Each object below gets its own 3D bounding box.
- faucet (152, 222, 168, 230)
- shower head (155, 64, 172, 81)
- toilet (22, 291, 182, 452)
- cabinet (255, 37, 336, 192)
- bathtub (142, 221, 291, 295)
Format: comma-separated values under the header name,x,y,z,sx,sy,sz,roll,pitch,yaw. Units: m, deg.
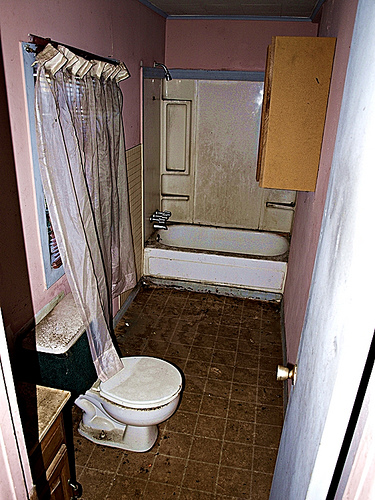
name,x,y,z,sx,sy,sz,roll,pitch,yaw
faucet,-0.259,-0.222,3.724,0.074,0.084,0.077,1,-1,5
shower head,-0.200,-1.539,3.393,0.105,0.123,0.333,2,23,4
toilet,-0.349,0.665,1.936,0.609,0.707,0.449,8,26,10
cabinet,0.442,-0.666,1.971,0.303,0.691,0.444,6,23,8
bathtub,0.294,0.039,3.697,1.294,0.346,0.757,6,23,13
